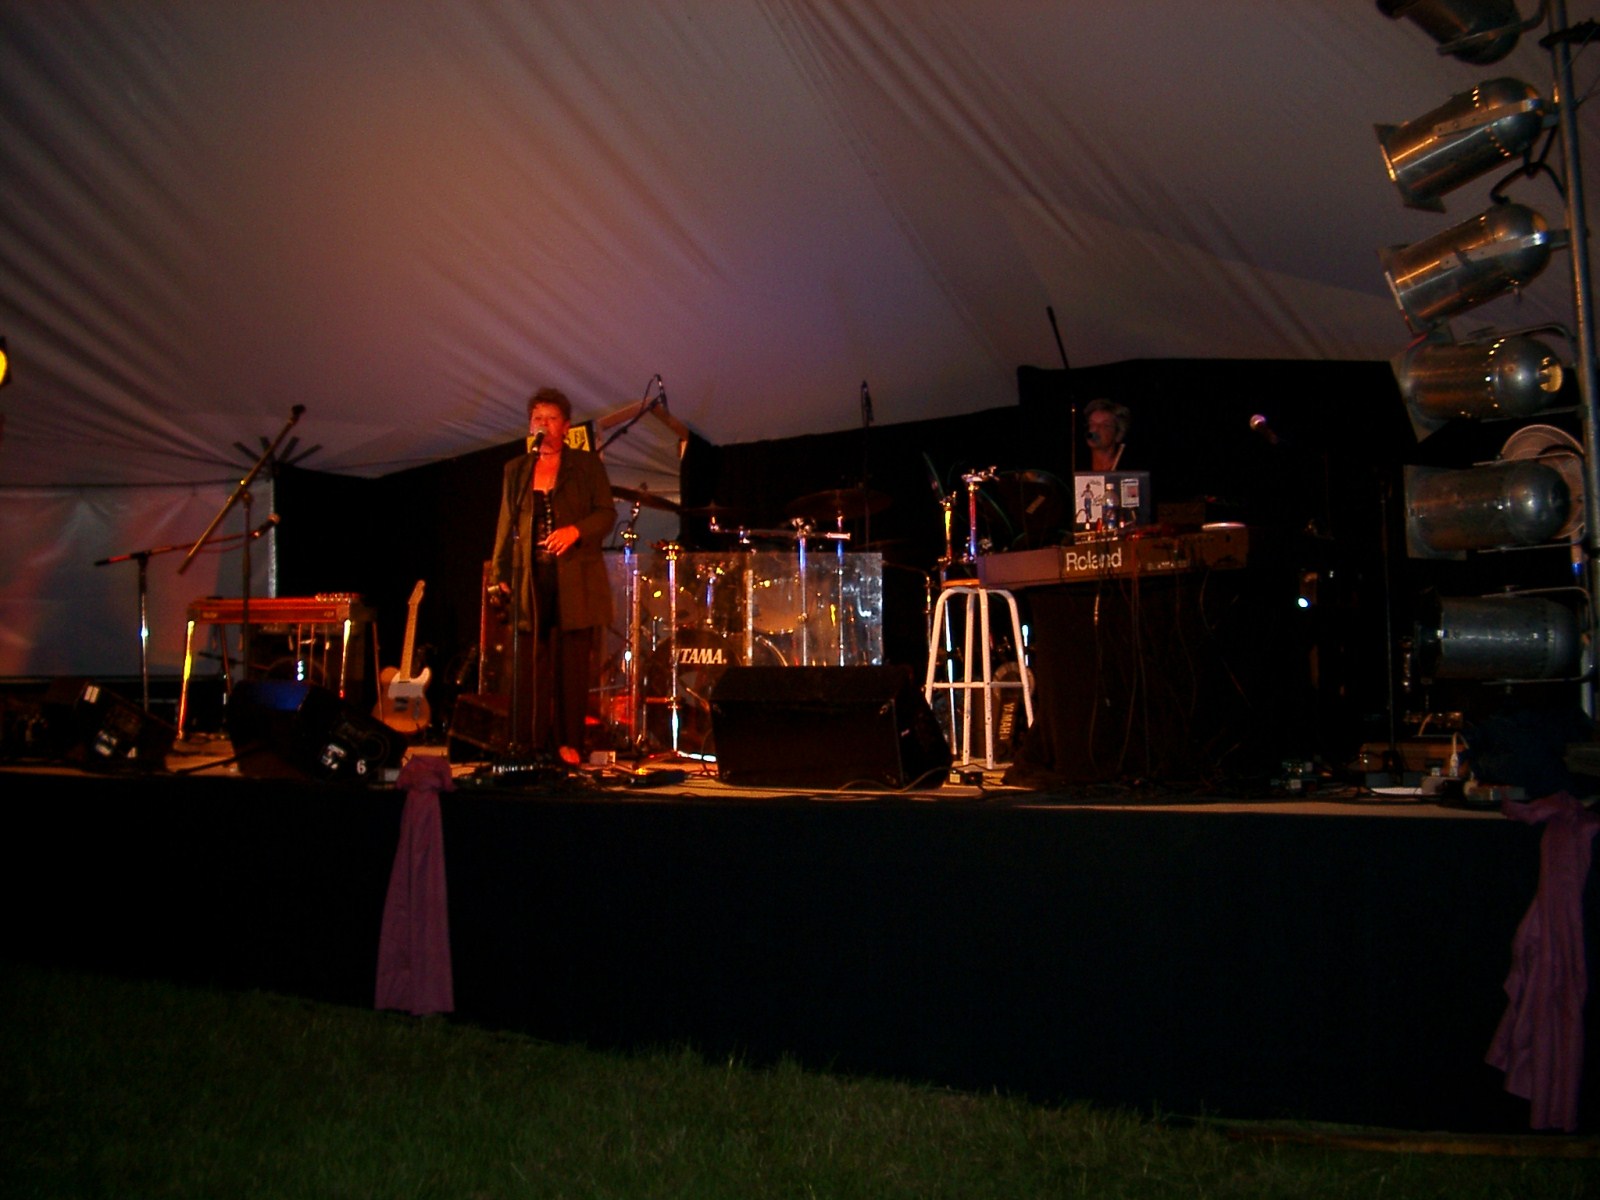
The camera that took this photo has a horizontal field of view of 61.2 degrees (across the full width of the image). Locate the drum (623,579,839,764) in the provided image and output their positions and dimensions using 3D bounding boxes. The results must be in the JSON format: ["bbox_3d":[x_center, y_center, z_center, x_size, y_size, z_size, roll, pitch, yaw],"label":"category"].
[{"bbox_3d":[-0.390,0.400,7.404,0.964,1.127,0.926,-1,-13,-2],"label":"drum"}]

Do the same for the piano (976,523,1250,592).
[{"bbox_3d":[1.328,-0.196,5.844,1.146,0.209,0.164,-4,-8,28],"label":"piano"}]

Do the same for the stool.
[{"bbox_3d":[0.922,0.399,6.878,0.689,1.021,0.712,0,-14,-2],"label":"stool"}]

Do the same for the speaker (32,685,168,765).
[{"bbox_3d":[-2.841,0.523,5.435,0.307,0.197,0.426,20,-16,-22],"label":"speaker"}]

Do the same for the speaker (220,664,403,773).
[{"bbox_3d":[-1.907,0.470,5.223,0.500,0.347,0.351,-3,-8,10],"label":"speaker"}]

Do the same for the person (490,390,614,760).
[{"bbox_3d":[-1.158,-0.128,6.324,0.560,1.710,1.006,2,-7,-13],"label":"person"}]
